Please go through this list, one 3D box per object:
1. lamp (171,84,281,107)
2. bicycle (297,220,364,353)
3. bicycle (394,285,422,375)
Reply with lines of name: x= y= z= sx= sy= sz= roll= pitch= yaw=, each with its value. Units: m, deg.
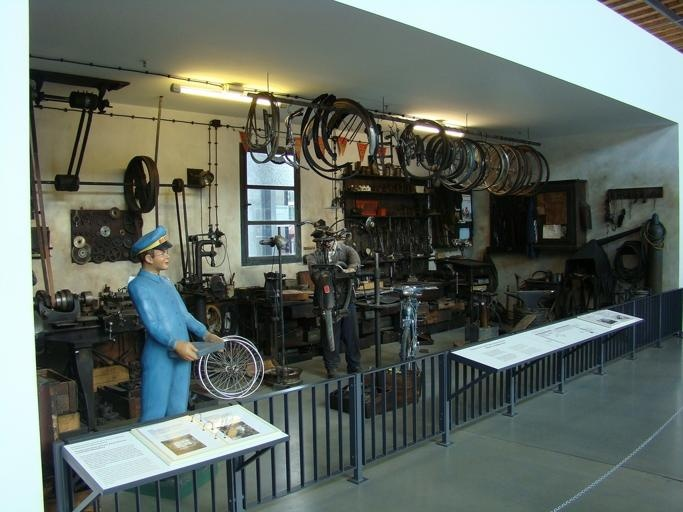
lamp: x=-1.675 y=-2.070 z=7.656 sx=1.001 sy=0.198 sz=0.853 roll=-5 pitch=2 yaw=-13
bicycle: x=-0.092 y=0.375 z=7.335 sx=0.661 sy=1.208 sz=1.141 roll=-4 pitch=2 yaw=1
bicycle: x=0.794 y=0.844 z=6.887 sx=0.281 sy=0.672 sz=0.709 roll=-4 pitch=2 yaw=7
